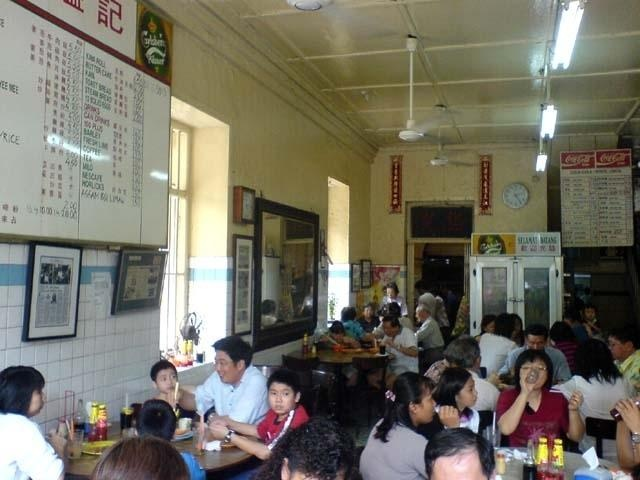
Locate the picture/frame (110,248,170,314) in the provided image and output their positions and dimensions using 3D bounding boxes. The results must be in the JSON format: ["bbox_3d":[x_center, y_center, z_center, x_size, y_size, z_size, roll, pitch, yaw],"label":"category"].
[{"bbox_3d":[-1.621,0.352,4.491,0.059,0.446,0.579,7,-6,18],"label":"picture/frame"}]

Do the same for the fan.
[{"bbox_3d":[1.162,-2.062,6.870,1.798,1.916,1.756,2,-4,7],"label":"fan"}]

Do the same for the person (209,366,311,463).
[{"bbox_3d":[-0.405,1.331,3.623,0.711,0.768,0.514,-4,-2,-17],"label":"person"}]

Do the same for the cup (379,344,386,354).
[{"bbox_3d":[0.866,1.513,7.024,0.085,0.152,0.096,-2,-3,8],"label":"cup"}]

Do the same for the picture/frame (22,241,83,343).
[{"bbox_3d":[-1.977,0.379,3.738,0.085,0.691,0.430,-2,-7,23],"label":"picture/frame"}]

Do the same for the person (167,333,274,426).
[{"bbox_3d":[-0.823,1.165,4.436,0.732,1.097,0.715,4,-5,-37],"label":"person"}]

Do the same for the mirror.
[{"bbox_3d":[-0.514,0.476,6.959,0.152,1.930,2.154,-1,-5,19],"label":"mirror"}]
